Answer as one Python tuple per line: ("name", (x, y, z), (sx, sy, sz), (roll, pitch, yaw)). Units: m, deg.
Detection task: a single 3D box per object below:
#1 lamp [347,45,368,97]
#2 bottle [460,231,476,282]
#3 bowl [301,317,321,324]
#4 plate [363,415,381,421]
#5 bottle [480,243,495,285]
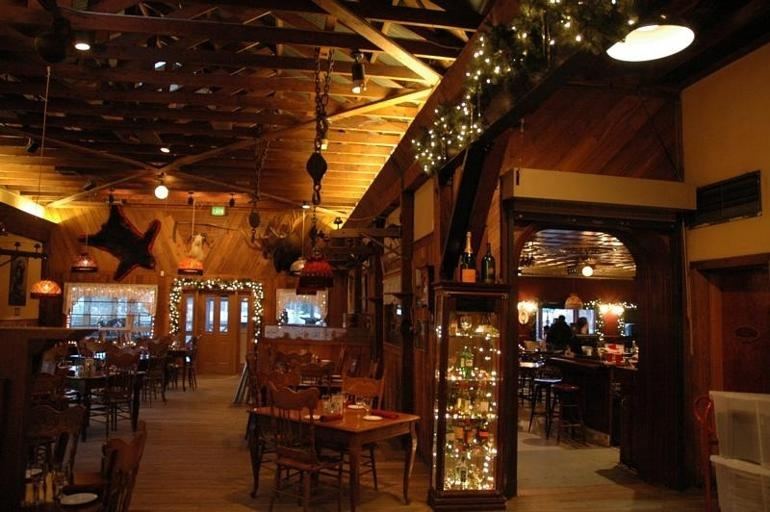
("lamp", (-0.353, -2.388, 8.319), (0.171, 0.510, 0.276), (2, -10, -5))
("bottle", (1.075, 0.014, 8.483), (0.235, 0.702, 0.400), (0, -10, 6))
("bowl", (-2.104, 1.832, 18.664), (0.517, 0.213, 0.427), (3, -11, -8))
("plate", (-0.159, 2.037, 8.224), (0.233, 0.064, 0.248), (4, -12, -16))
("bottle", (1.342, 0.082, 8.503), (0.197, 0.537, 0.224), (0, -10, 7))
